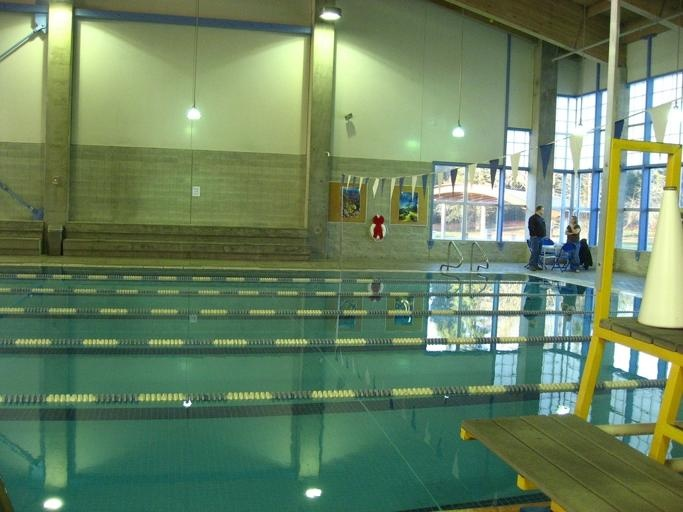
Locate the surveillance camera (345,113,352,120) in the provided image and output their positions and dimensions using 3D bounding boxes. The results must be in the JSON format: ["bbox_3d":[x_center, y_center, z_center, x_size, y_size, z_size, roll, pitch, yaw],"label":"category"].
[{"bbox_3d":[0.142,-2.763,12.709,0.126,0.060,0.116,-2,1,-32],"label":"surveillance camera"}]

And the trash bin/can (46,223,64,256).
[{"bbox_3d":[-4.965,-0.265,11.070,0.264,0.484,0.385,-2,9,-25],"label":"trash bin/can"}]

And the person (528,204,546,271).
[{"bbox_3d":[3.673,-0.325,12.049,0.288,1.205,0.451,5,8,20],"label":"person"}]

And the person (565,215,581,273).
[{"bbox_3d":[4.414,-0.238,12.222,0.272,1.022,0.587,5,8,21],"label":"person"}]
